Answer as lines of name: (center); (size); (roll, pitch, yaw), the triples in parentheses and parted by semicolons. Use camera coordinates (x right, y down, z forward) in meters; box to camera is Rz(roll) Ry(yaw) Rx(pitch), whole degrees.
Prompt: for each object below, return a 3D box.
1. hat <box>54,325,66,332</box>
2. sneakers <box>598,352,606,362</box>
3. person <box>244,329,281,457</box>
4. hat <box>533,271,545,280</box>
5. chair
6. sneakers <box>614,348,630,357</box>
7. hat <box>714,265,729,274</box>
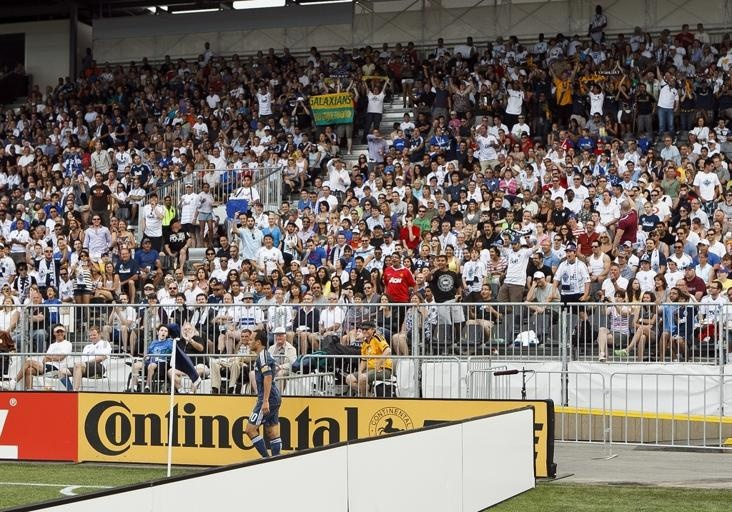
hat: (-6.925, 1.599, 38.197); (0.256, 0.152, 0.397); (0, -4, -10)
sneakers: (5.161, 2.162, 36.788); (0.216, 0.253, 0.140); (0, -20, 6)
person: (-2.053, 2.734, 34.147); (0.721, 2.510, 1.234); (-1, -4, -4)
hat: (3.959, 0.426, 38.624); (0.136, 0.211, 0.205); (-6, 3, 35)
chair: (3.519, 1.633, 37.082); (4.066, 1.121, 0.496); (-1, -4, 1)
sneakers: (5.576, 2.077, 36.770); (0.325, 0.153, 0.125); (7, 41, 10)
hat: (8.090, 0.278, 38.139); (0.220, 0.171, 0.365); (0, -11, 39)
